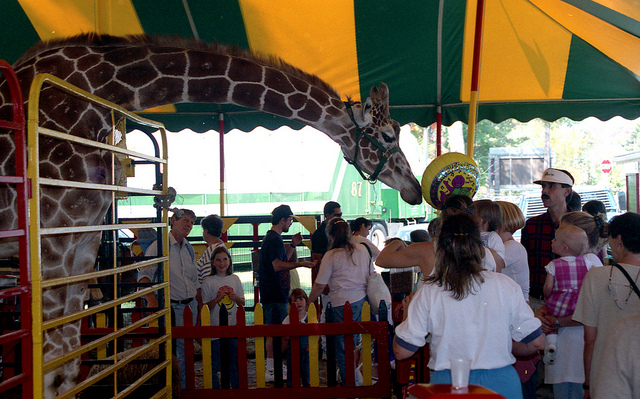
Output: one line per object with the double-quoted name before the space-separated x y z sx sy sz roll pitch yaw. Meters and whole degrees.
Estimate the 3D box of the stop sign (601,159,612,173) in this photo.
"stop sign" 11.860 -1.377 25.166 0.608 0.649 0.082 18 -29 -27

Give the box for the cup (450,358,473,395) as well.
"cup" 1.198 1.565 5.276 0.242 0.324 0.232 2 -11 0

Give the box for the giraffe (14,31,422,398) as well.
"giraffe" -1.850 0.022 8.775 5.268 4.120 4.588 -1 -1 -38

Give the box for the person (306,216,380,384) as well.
"person" 0.347 1.424 8.773 1.101 2.538 0.875 -11 20 -19

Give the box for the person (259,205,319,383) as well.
"person" -0.475 1.409 9.002 0.824 2.551 0.848 1 -2 -9

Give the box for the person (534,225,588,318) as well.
"person" 2.949 0.927 7.311 0.593 1.221 0.528 9 13 12
